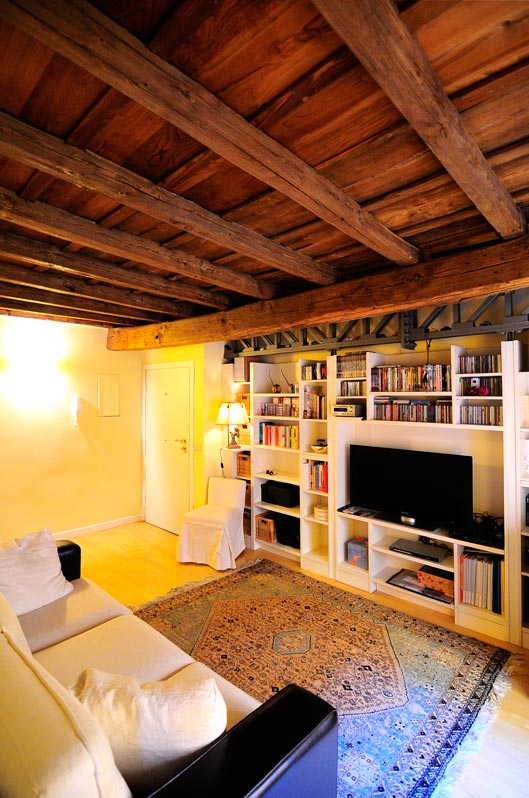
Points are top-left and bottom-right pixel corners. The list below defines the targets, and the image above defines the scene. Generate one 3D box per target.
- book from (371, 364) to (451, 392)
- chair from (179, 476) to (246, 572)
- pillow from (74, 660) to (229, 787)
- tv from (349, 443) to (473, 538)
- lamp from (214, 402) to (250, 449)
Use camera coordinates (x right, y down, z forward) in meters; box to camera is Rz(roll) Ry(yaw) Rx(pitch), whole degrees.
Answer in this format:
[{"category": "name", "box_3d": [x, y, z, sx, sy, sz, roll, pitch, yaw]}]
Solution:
[{"category": "book", "box_3d": [0.884, -0.116, 3.448, 0.086, 0.172, 0.603, -5, 6, -32]}, {"category": "chair", "box_3d": [-0.322, 0.965, 4.448, 0.587, 0.692, 0.584, 1, -3, 26]}, {"category": "pillow", "box_3d": [-0.282, 0.812, 1.497, 0.295, 0.126, 0.293, 4, 10, -45]}, {"category": "tv", "box_3d": [0.963, 0.589, 3.570, 0.111, 0.373, 0.665, -4, 5, -42]}, {"category": "lamp", "box_3d": [-0.275, 0.249, 4.879, 0.354, 0.451, 0.372, -2, -3, 28]}]
